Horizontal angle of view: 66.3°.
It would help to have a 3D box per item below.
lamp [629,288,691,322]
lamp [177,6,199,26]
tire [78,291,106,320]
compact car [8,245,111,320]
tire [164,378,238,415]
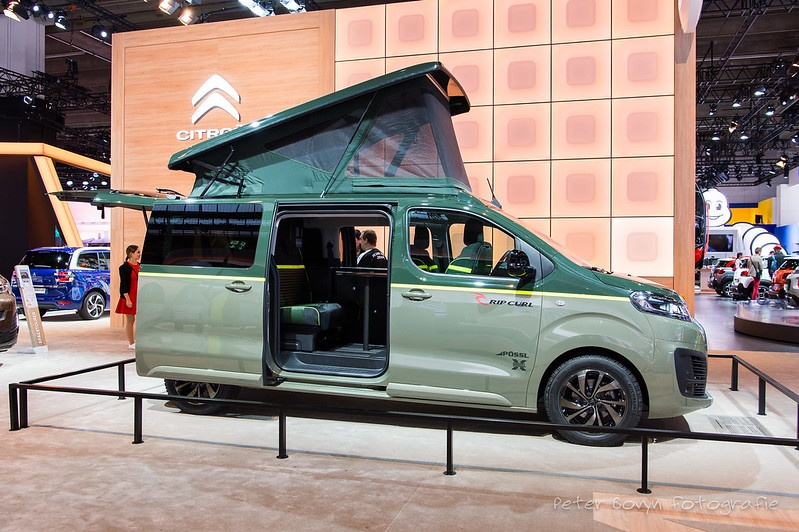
[{"bbox_3d":[3.280,0.500,7.710,0.808,0.376,0.266,-3,12,-19],"label":"lamp"},{"bbox_3d":[-5.681,-6.732,16.416,0.365,0.573,0.554,-3,11,-17],"label":"lamp"},{"bbox_3d":[-8.820,1.107,17.598,0.303,0.720,0.784,2,-14,27],"label":"tire"},{"bbox_3d":[-9.407,0.394,17.999,1.980,1.342,3.078,0,3,13],"label":"compact car"},{"bbox_3d":[-2.796,1.837,8.695,0.755,0.640,0.230,0,-3,3],"label":"tire"}]
